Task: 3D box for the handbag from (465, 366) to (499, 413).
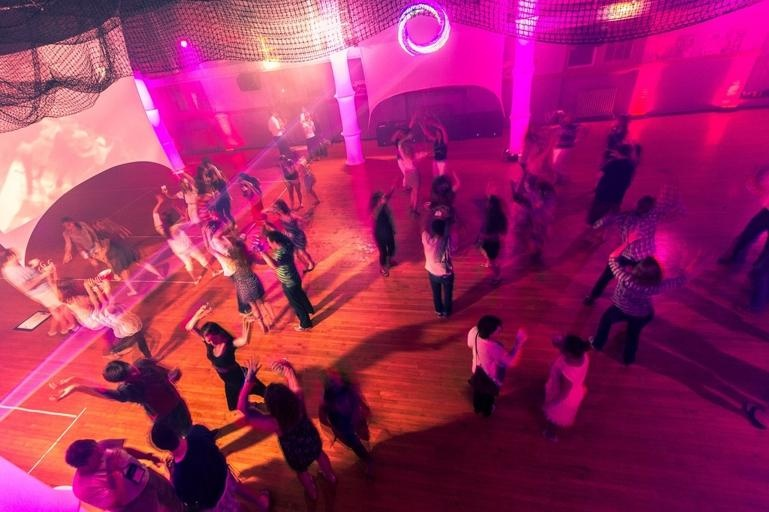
[{"bbox_3d":[1.700,2.247,8.705,0.524,1.002,0.385,7,36,19],"label":"handbag"}]
